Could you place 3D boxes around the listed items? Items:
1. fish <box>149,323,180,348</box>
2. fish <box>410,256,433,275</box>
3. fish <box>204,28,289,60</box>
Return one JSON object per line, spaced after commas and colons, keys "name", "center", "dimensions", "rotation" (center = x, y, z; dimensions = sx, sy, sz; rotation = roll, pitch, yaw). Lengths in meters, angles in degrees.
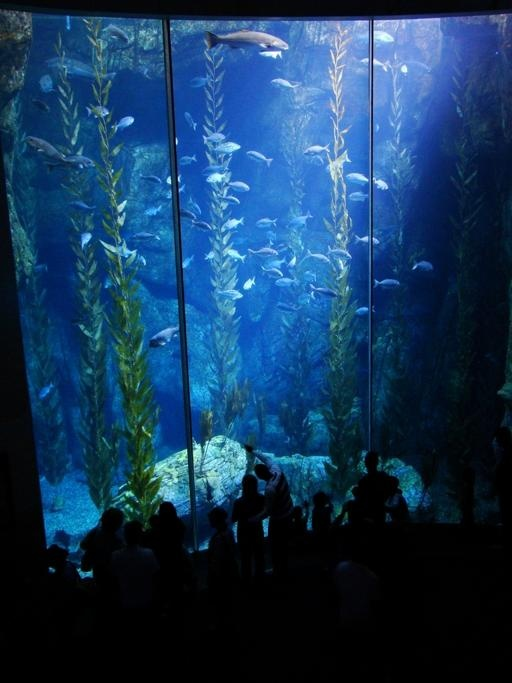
{"name": "fish", "center": [-1.287, -0.076, 8.935], "dimensions": [0.421, 0.090, 0.192], "rotation": [-41, 16, -18]}
{"name": "fish", "center": [1.922, -0.890, 7.576], "dimensions": [0.301, 0.172, 0.097], "rotation": [11, 26, 27]}
{"name": "fish", "center": [-0.102, -2.612, 5.536], "dimensions": [0.661, 0.244, 0.482], "rotation": [-2, 7, -9]}
